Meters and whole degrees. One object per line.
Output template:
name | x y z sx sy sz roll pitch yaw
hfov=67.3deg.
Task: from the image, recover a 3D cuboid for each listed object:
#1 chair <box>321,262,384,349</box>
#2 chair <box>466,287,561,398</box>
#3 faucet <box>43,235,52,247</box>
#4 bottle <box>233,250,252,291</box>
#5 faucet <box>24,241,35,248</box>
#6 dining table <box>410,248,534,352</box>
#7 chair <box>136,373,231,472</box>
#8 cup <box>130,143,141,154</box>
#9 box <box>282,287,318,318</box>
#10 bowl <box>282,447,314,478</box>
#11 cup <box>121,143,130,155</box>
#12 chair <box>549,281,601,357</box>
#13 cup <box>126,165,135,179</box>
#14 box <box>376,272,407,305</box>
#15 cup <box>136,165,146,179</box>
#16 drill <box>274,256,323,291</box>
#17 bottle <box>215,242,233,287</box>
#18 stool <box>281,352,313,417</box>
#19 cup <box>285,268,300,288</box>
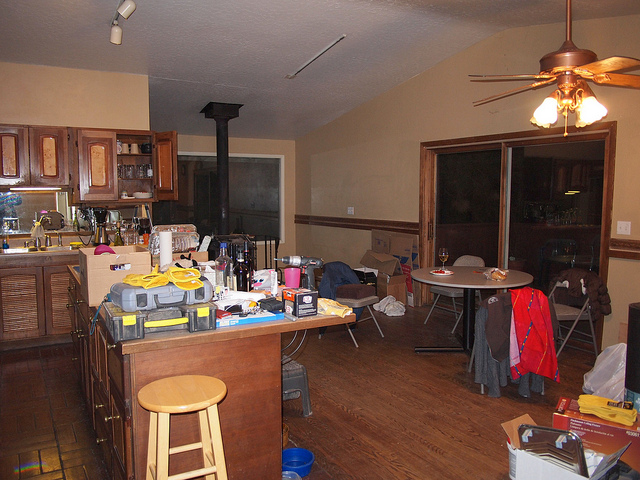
chair | 0.379 0.722 5.895 0.721 0.931 0.700 -1 1 -24
chair | 1.781 0.936 4.334 0.721 1.026 0.376 4 13 19
faucet | -3.363 0.006 5.909 0.074 0.149 0.228 -7 13 -28
bottle | -0.563 0.215 3.422 0.121 0.292 0.056 -2 12 -9
faucet | -3.620 0.048 5.891 0.170 0.069 0.094 6 13 28
dining table | 1.582 0.594 5.122 1.224 0.780 1.228 0 10 0
chair | -0.771 1.111 2.782 0.504 0.602 0.412 -3 12 -14
cup | -2.416 -1.198 6.256 0.126 0.136 0.154 -5 13 -22
box | -0.138 0.421 3.208 0.186 0.163 0.182 -4 4 -38
bowl | -0.158 1.605 3.431 0.223 0.169 0.241 0 12 0
cup | -2.524 -1.179 6.199 0.093 0.134 0.128 -5 13 -21
chair | 2.743 0.914 5.179 0.279 0.480 0.315 -18 -41 30
cup | -2.530 -0.912 6.377 0.112 0.168 0.200 -5 13 -21
box | 1.095 0.717 7.176 0.506 0.479 0.276 -5 13 -21
cup | -2.407 -0.918 6.373 0.096 0.162 0.183 -10 15 -39
drill | -0.140 0.253 3.391 0.344 0.274 0.113 3 -6 -23
bottle | -0.705 0.178 3.447 0.128 0.309 0.330 -2 12 -5
stool | -0.228 1.272 4.044 0.220 0.495 0.422 8 14 34
cup | -0.195 0.263 3.341 0.101 0.134 0.093 0 12 0
